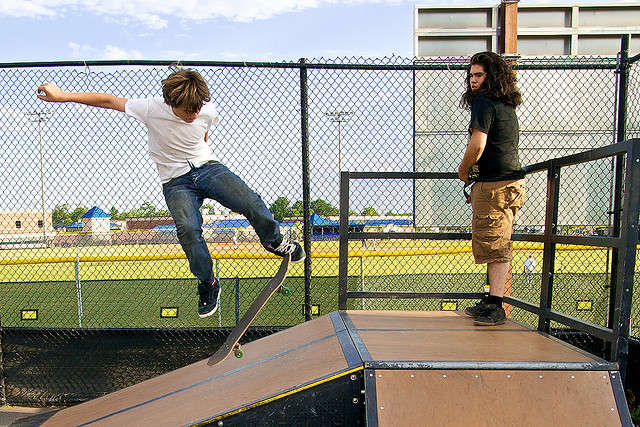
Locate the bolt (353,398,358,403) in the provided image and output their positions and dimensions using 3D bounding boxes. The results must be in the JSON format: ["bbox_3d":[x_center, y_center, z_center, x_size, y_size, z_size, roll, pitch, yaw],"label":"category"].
[{"bbox_3d":[0.355,1.872,6.947,0.046,0.045,0.010,-6,9,10],"label":"bolt"}]

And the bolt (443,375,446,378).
[{"bbox_3d":[1.236,1.623,6.917,0.015,0.020,0.007,9,-4,0],"label":"bolt"}]

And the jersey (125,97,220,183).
[{"bbox_3d":[-1.597,-0.825,7.847,1.033,1.000,0.538,-7,3,-16],"label":"jersey"}]

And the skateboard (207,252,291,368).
[{"bbox_3d":[-0.953,1.321,9.369,0.256,1.493,0.359,41,-7,-23],"label":"skateboard"}]

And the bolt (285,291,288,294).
[{"bbox_3d":[-0.368,0.875,7.727,0.022,0.022,0.021,-19,-3,21],"label":"bolt"}]

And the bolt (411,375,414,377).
[{"bbox_3d":[0.921,1.621,6.918,0.026,0.021,0.006,-6,9,5],"label":"bolt"}]

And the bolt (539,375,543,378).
[{"bbox_3d":[2.192,1.629,6.922,0.021,0.022,0.005,-3,-10,9],"label":"bolt"}]

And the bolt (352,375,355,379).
[{"bbox_3d":[0.337,1.637,6.949,0.020,0.039,0.005,-7,9,-2],"label":"bolt"}]

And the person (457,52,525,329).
[{"bbox_3d":[1.896,-0.274,7.740,0.852,2.996,0.467,-14,11,-37],"label":"person"}]
